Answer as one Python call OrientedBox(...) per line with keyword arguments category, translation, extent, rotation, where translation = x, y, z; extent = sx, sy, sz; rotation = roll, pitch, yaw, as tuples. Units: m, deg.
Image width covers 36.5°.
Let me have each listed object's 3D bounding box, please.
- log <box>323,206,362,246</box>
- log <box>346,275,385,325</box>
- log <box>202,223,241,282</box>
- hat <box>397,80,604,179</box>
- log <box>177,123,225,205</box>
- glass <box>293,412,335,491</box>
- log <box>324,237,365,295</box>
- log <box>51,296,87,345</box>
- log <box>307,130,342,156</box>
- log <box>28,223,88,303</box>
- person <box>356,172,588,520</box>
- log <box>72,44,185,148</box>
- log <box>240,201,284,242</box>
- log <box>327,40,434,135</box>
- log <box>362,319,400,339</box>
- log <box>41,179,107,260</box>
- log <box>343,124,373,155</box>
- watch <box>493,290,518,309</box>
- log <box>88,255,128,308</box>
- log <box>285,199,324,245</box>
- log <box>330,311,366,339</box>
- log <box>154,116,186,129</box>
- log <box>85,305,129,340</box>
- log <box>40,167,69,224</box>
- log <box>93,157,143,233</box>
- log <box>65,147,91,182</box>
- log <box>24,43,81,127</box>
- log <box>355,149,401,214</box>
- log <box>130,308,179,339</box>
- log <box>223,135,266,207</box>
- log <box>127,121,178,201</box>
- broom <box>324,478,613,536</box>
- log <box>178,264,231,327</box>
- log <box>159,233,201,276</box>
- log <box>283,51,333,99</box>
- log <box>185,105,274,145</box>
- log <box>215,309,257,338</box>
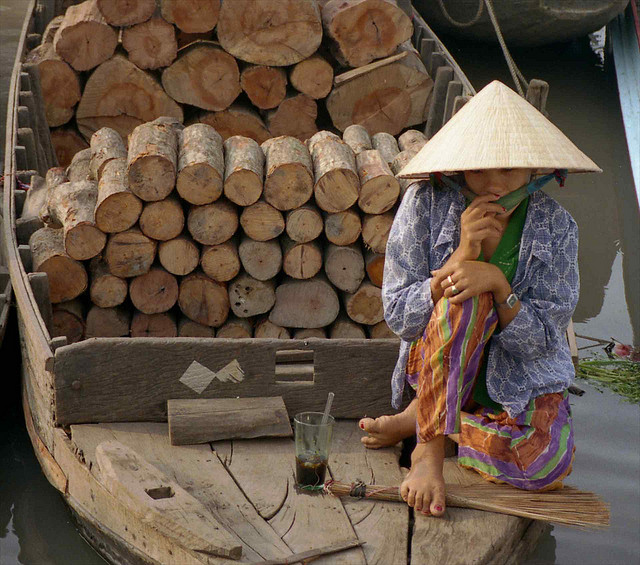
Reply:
OrientedBox(category="log", translation=(0.151, -0.356, 6.274), extent=(0.221, 0.245, 0.256), rotation=(24, 11, -5))
OrientedBox(category="log", translation=(0.323, 0.136, 6.517), extent=(0.271, 0.329, 0.071), rotation=(-16, 36, 5))
OrientedBox(category="log", translation=(-0.650, -0.197, 6.300), extent=(0.213, 0.187, 0.314), rotation=(-28, 16, 5))
OrientedBox(category="hat", translation=(0.836, -0.715, 4.539), extent=(0.898, 0.445, 0.357), rotation=(0, 10, 3))
OrientedBox(category="log", translation=(-0.763, -0.734, 6.162), extent=(0.327, 0.400, 0.779), rotation=(4, 22, -1))
OrientedBox(category="glass", translation=(-0.035, 0.818, 4.686), extent=(0.189, 0.355, 0.201), rotation=(0, 10, 3))
OrientedBox(category="log", translation=(0.162, -0.100, 6.377), extent=(0.187, 0.405, 0.145), rotation=(-12, 31, 14))
OrientedBox(category="log", translation=(-1.643, 0.253, 6.367), extent=(0.275, 0.334, 0.321), rotation=(4, 25, -19))
OrientedBox(category="log", translation=(0.027, -0.951, 6.608), extent=(0.188, 0.209, 0.146), rotation=(-7, 12, -17))
OrientedBox(category="log", translation=(-1.711, -0.204, 6.473), extent=(0.348, 0.337, 0.763), rotation=(0, 31, -11))
OrientedBox(category="person", translation=(0.754, 0.278, 4.625), extent=(0.938, 1.588, 0.628), rotation=(1, 10, 9))
OrientedBox(category="log", translation=(-1.564, -1.511, 7.864), extent=(0.930, 0.899, 0.227), rotation=(10, 31, -14))
OrientedBox(category="log", translation=(-0.375, -0.419, 6.249), extent=(0.281, 0.310, 0.083), rotation=(-12, 42, 4))
OrientedBox(category="log", translation=(0.514, -1.526, 8.072), extent=(0.863, 0.895, 0.348), rotation=(-4, 27, -14))
OrientedBox(category="log", translation=(0.397, 0.332, 6.597), extent=(0.152, 0.182, 0.175), rotation=(-5, -4, 20))
OrientedBox(category="log", translation=(-1.552, -0.430, 6.298), extent=(0.513, 0.280, 0.651), rotation=(-20, 32, -10))
OrientedBox(category="log", translation=(0.269, -1.027, 6.927), extent=(0.244, 0.262, 0.407), rotation=(1, 13, -1))
OrientedBox(category="watch", translation=(0.890, 0.102, 4.627), extent=(0.090, 0.059, 0.098), rotation=(-19, 35, 46))
OrientedBox(category="log", translation=(-1.368, -0.019, 6.252), extent=(0.181, 0.179, 0.198), rotation=(43, 6, -23))
OrientedBox(category="log", translation=(-0.099, -0.369, 6.373), extent=(0.244, 0.271, 0.279), rotation=(16, 15, -7))
OrientedBox(category="log", translation=(0.185, 0.306, 6.570), extent=(0.184, 0.204, 0.215), rotation=(7, 2, 5))
OrientedBox(category="log", translation=(-0.990, -1.071, 6.504), extent=(0.143, 0.044, 0.143), rotation=(29, -1, 19))
OrientedBox(category="log", translation=(-1.405, 0.271, 6.391), extent=(0.189, 0.242, 0.267), rotation=(1, 0, -7))
OrientedBox(category="log", translation=(-1.861, -0.645, 6.717), extent=(0.110, 0.468, 0.140), rotation=(16, 14, -16))
OrientedBox(category="log", translation=(-1.255, -0.531, 6.077), extent=(0.200, 0.256, 0.353), rotation=(30, 23, -29))
OrientedBox(category="log", translation=(-1.701, -0.804, 6.849), extent=(0.156, 0.105, 0.324), rotation=(11, 53, -2))
OrientedBox(category="log", translation=(-2.111, -1.681, 7.869), extent=(0.447, 0.693, 0.209), rotation=(-11, 25, -7))
OrientedBox(category="log", translation=(0.363, -0.633, 6.261), extent=(0.266, 0.269, 0.430), rotation=(-34, 20, 9))
OrientedBox(category="log", translation=(-1.096, 0.287, 6.482), extent=(0.213, 0.271, 0.300), rotation=(-1, -3, -5))
OrientedBox(category="log", translation=(-0.487, -0.786, 6.367), extent=(0.273, 0.264, 0.606), rotation=(5, 38, -3))
OrientedBox(category="log", translation=(-1.058, -0.790, 6.243), extent=(0.330, 0.315, 0.531), rotation=(29, 26, -22))
OrientedBox(category="broom", translation=(0.757, 1.054, 4.655), extent=(1.210, 0.182, 0.305), rotation=(1, 10, 4))
OrientedBox(category="log", translation=(-0.764, 0.070, 6.422), extent=(0.253, 0.231, 0.359), rotation=(29, 5, -8))
OrientedBox(category="log", translation=(-0.914, -0.197, 6.385), extent=(0.231, 0.259, 0.255), rotation=(8, 7, -7))
OrientedBox(category="log", translation=(-0.063, -1.667, 7.873), extent=(0.404, 0.383, 0.099), rotation=(3, 4, -34))
OrientedBox(category="log", translation=(-0.717, -1.317, 8.048), extent=(0.451, 0.123, 0.502), rotation=(3, -12, -12))
OrientedBox(category="log", translation=(-0.563, 0.297, 6.581), extent=(0.178, 0.216, 0.248), rotation=(21, 20, -2))
